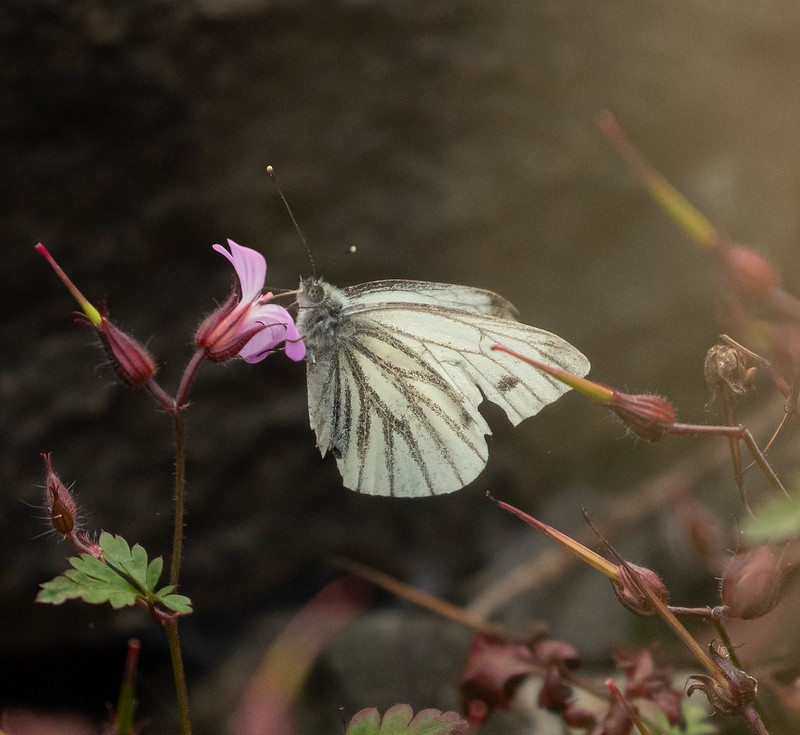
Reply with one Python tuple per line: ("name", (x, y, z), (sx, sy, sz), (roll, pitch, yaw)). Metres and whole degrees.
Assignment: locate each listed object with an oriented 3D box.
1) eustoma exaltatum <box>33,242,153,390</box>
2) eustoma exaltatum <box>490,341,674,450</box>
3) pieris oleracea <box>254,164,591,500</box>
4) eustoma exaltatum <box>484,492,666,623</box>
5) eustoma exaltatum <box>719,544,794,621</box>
("eustoma exaltatum", (-1.000, -0.155, 3.286), (0.171, 0.156, 0.566), (-37, -67, -4))
("eustoma exaltatum", (0.712, 0.118, 3.169), (0.793, 0.225, 0.232), (19, -21, -3))
("pieris oleracea", (0.188, -0.175, 4.627), (2.154, 1.682, 1.196), (-5, -68, -3))
("eustoma exaltatum", (0.653, 0.634, 3.258), (0.912, 0.160, 0.230), (26, -17, -6))
("eustoma exaltatum", (1.132, 0.683, 3.164), (0.247, 0.195, 0.120), (-42, -31, 27))
